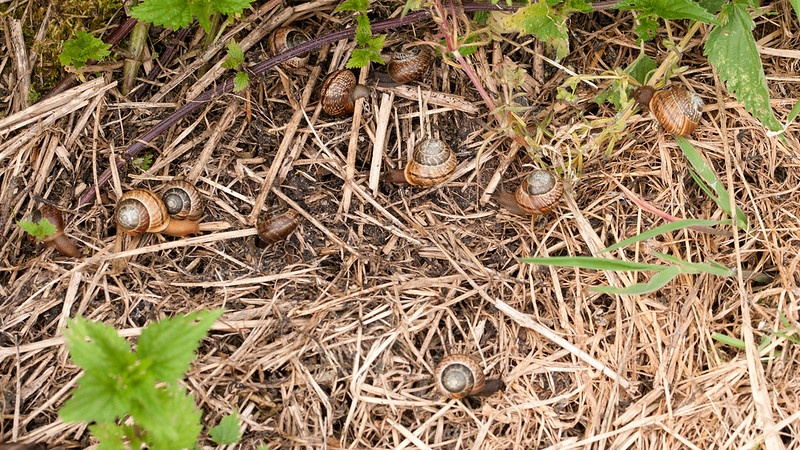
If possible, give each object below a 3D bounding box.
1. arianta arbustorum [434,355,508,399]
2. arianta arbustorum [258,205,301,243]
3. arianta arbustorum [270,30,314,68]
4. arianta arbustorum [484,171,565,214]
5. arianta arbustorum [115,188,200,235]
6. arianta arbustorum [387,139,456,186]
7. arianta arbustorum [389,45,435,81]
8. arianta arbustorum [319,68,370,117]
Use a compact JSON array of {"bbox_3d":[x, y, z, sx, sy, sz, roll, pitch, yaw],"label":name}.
[{"bbox_3d":[0.474,1.033,4.557,0.410,0.130,0.244,10,99,-15],"label":"arianta arbustorum"},{"bbox_3d":[-0.820,-0.009,4.797,0.311,0.120,0.200,-29,87,7],"label":"arianta arbustorum"},{"bbox_3d":[-0.784,-1.247,4.797,0.271,0.189,0.240,-3,66,-3],"label":"arianta arbustorum"},{"bbox_3d":[0.913,-0.213,4.724,0.508,0.270,0.307,-7,39,20],"label":"arianta arbustorum"},{"bbox_3d":[-1.690,-0.054,4.706,0.539,0.283,0.286,6,66,1],"label":"arianta arbustorum"},{"bbox_3d":[0.162,-0.429,4.748,0.494,0.278,0.281,4,66,0],"label":"arianta arbustorum"},{"bbox_3d":[0.086,-1.112,4.799,0.286,0.135,0.216,-28,58,-2],"label":"arianta arbustorum"},{"bbox_3d":[-0.412,-0.917,4.801,0.268,0.222,0.314,38,70,14],"label":"arianta arbustorum"}]
